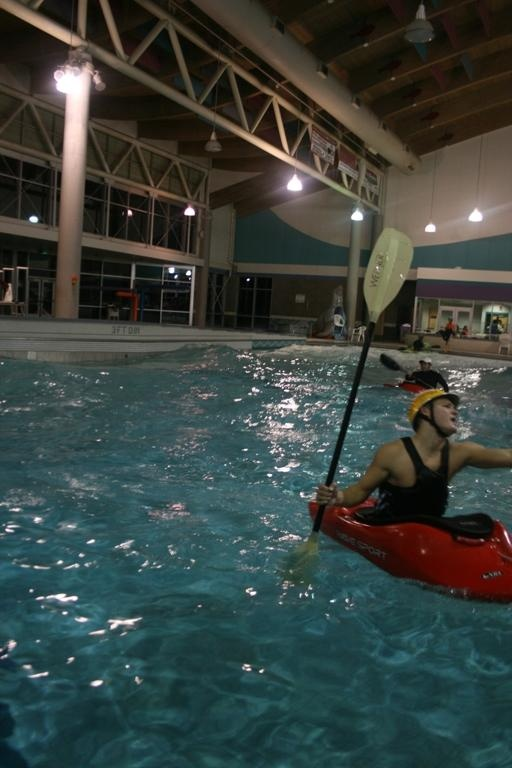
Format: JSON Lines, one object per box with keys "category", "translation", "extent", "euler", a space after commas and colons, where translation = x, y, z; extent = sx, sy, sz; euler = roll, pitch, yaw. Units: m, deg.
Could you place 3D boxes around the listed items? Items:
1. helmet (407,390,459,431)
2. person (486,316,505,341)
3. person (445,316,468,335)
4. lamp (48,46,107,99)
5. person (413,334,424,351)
{"category": "helmet", "translation": [0.783, 0.117, 2.387], "extent": [0.193, 0.166, 0.116], "euler": [4, 5, 18]}
{"category": "person", "translation": [9.522, -2.226, 21.610], "extent": [0.654, 0.984, 0.638], "euler": [6, 5, 35]}
{"category": "person", "translation": [8.224, -2.333, 22.100], "extent": [0.835, 0.769, 0.844], "euler": [4, 4, 19]}
{"category": "lamp", "translation": [-3.030, -5.320, 9.222], "extent": [0.540, 0.923, 1.124], "euler": [3, 4, 10]}
{"category": "person", "translation": [5.973, -1.398, 19.876], "extent": [0.376, 0.536, 0.721], "euler": [4, 4, 20]}
